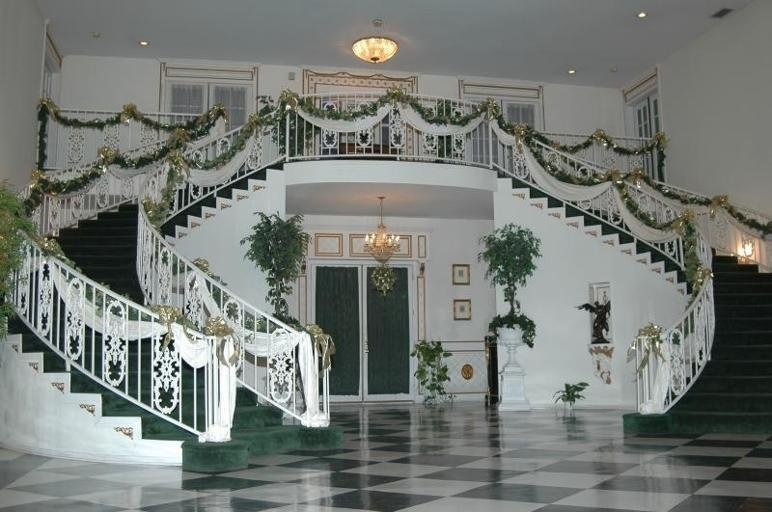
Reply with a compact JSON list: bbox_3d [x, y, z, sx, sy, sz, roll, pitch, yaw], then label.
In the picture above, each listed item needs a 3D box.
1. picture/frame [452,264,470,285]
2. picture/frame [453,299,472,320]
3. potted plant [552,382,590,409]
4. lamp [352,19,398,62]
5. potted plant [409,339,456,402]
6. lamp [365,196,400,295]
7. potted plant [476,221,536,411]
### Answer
[{"bbox_3d":[1.660,0.429,16.263,0.401,0.488,0.037,1,-6,-10],"label":"picture/frame"},{"bbox_3d":[1.683,1.212,16.131,0.409,0.461,0.032,2,-10,-13],"label":"picture/frame"},{"bbox_3d":[3.324,2.520,13.248,0.502,0.386,0.495,2,-5,-41],"label":"potted plant"},{"bbox_3d":[-0.218,-4.590,15.368,1.013,0.851,0.971,11,22,17],"label":"lamp"},{"bbox_3d":[0.880,2.454,15.204,1.048,1.793,1.161,-1,-3,10],"label":"potted plant"},{"bbox_3d":[-0.057,-0.221,15.280,0.706,2.106,0.731,-3,2,-33],"label":"lamp"},{"bbox_3d":[2.392,1.088,13.549,1.050,3.369,1.089,-1,3,-10],"label":"potted plant"}]
